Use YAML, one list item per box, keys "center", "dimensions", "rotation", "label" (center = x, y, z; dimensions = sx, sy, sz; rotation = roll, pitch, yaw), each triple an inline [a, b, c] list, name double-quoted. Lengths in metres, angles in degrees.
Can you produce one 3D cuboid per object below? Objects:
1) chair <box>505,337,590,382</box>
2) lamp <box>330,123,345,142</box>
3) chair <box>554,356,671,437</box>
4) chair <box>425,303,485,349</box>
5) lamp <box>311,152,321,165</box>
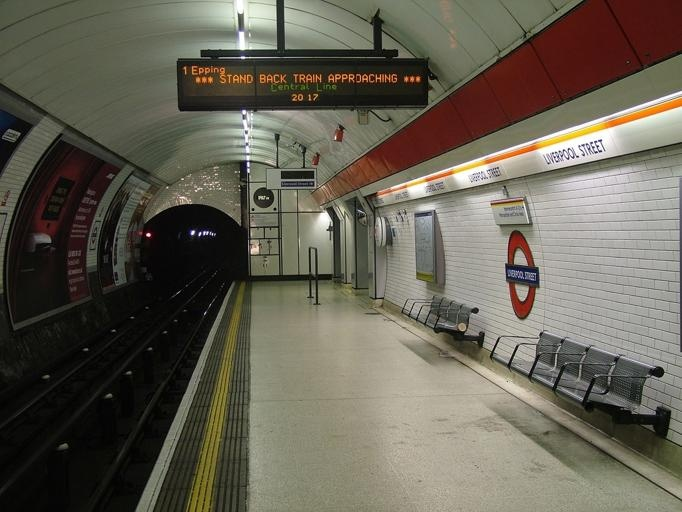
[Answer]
- center: [2.565, 1.325, 4.690]
  dimensions: [0.543, 0.382, 0.980]
  rotation: [-13, 0, -2]
  label: "chair"
- center: [-0.069, -3.173, 9.572]
  dimensions: [0.449, 0.223, 0.978]
  rotation: [16, 27, -7]
  label: "lamp"
- center: [2.785, 1.417, 4.093]
  dimensions: [0.738, 0.653, 1.414]
  rotation: [2, -5, 13]
  label: "chair"
- center: [2.120, 1.328, 7.626]
  dimensions: [0.939, 0.777, 1.433]
  rotation: [2, 0, -6]
  label: "chair"
- center: [-0.926, -3.649, 14.194]
  dimensions: [0.444, 0.551, 0.323]
  rotation: [-2, 14, -7]
  label: "lamp"
